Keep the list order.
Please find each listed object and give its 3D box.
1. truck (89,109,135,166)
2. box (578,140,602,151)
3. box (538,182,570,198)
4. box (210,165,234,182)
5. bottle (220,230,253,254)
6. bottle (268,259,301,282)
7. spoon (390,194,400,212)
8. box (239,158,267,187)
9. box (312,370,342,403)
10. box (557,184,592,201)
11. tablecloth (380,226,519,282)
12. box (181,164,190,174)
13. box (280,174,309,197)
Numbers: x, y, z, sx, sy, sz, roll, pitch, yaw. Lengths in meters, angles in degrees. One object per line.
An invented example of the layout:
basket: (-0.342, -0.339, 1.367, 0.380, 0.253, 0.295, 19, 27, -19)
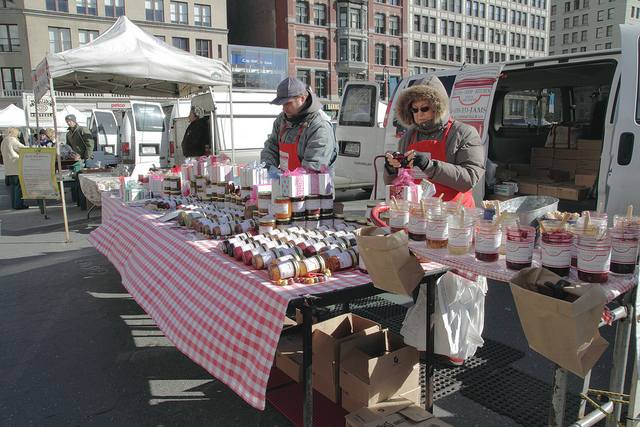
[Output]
truck: (-7.341, -2.649, 16.325, 1.765, 1.712, 2.972, -5, 31, -22)
box: (4.913, -1.262, 8.467, 0.197, 0.138, 0.273, -1, 6, -27)
box: (3.878, -0.389, 7.735, 0.185, 0.219, 0.343, -13, 17, -38)
box: (-1.131, -0.458, 5.300, 0.195, 0.164, 0.208, 1, 4, 16)
bottle: (-0.798, 0.256, 4.410, 0.304, 0.175, 0.484, -2, 13, -9)
bottle: (-0.292, 0.477, 3.785, 0.215, 0.176, 0.172, -8, 2, -7)
spoon: (0.630, -0.106, 3.929, 0.017, 0.034, 0.151, 0, 47, -19)
box: (-0.650, -0.441, 5.018, 0.299, 0.232, 0.293, -5, 6, -28)
box: (0.073, 1.633, 4.351, 0.201, 0.239, 0.353, -10, 15, -33)
box: (4.308, -0.346, 7.889, 0.550, 0.214, 0.290, -4, 13, -16)
tablecloth: (1.111, 0.353, 3.657, 0.911, 0.199, 0.401, 11, 17, 40)
box: (-1.755, -0.564, 6.000, 0.061, 0.089, 0.087, -4, 12, -20)
box: (-0.226, -0.264, 4.464, 0.223, 0.231, 0.228, 0, -1, -7)
